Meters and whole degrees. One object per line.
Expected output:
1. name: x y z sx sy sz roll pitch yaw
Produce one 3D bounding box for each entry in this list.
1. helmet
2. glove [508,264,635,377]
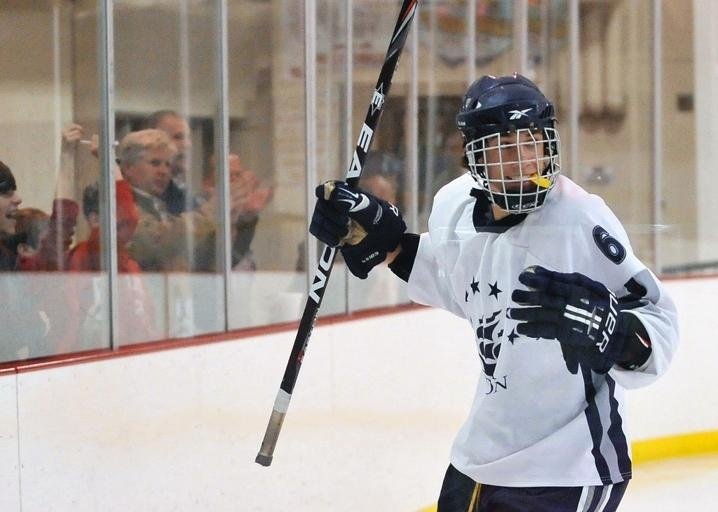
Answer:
1. helmet: 0.614 -0.472 7.038 0.428 0.542 0.566 -10 42 -6
2. glove: 0.856 0.253 6.807 0.460 0.434 0.137 -1 2 7
